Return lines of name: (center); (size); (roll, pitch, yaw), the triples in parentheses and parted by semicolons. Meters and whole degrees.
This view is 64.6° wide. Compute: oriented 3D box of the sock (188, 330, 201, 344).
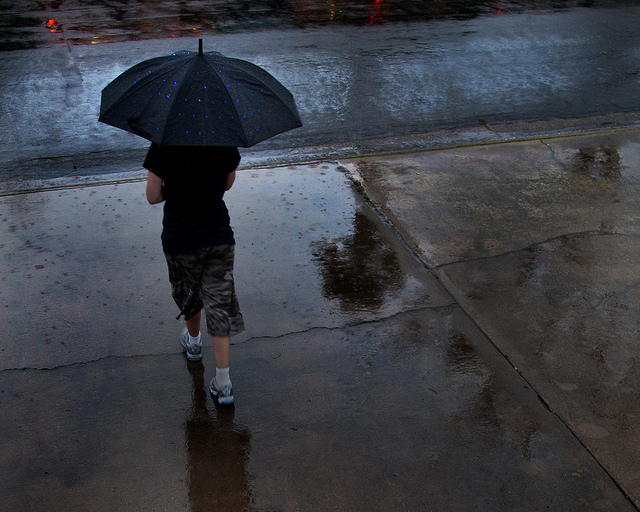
sock: (-0.846, 0.559, 3.420); (0.065, 0.060, 0.071); (-1, 12, -2)

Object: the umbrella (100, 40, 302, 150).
umbrella: (-0.639, -0.877, 2.765); (0.903, 0.348, 0.758); (-1, 36, -7)

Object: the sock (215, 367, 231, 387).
sock: (-0.594, 0.736, 3.086); (0.062, 0.118, 0.135); (-3, 13, -13)
